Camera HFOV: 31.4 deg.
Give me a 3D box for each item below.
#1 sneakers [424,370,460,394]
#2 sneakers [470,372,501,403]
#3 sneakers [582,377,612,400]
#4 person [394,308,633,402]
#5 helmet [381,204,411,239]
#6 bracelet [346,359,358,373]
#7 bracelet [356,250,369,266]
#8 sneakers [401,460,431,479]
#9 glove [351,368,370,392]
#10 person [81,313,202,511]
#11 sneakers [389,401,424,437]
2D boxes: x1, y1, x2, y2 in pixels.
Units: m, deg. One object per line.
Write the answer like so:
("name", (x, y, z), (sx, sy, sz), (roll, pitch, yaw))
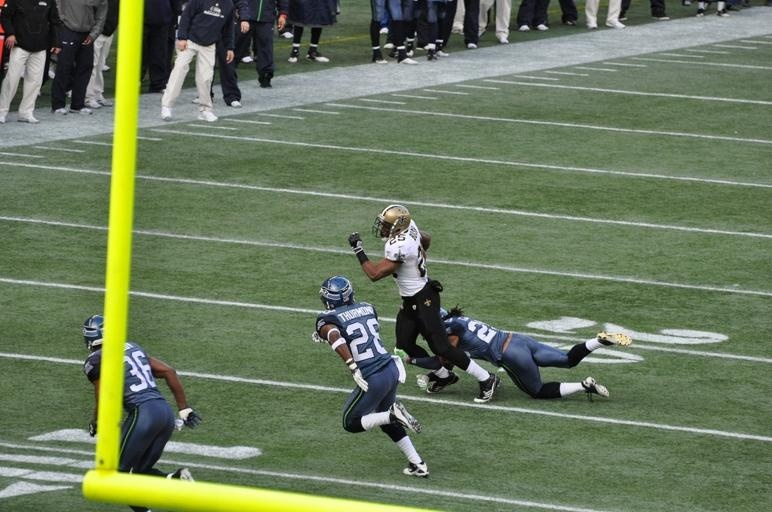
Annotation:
("sneakers", (0.516, 1.264, 13.568), (0.468, 0.118, 0.173), (-13, -40, 16))
("sneakers", (0.969, 1.294, 13.418), (0.250, 0.349, 0.141), (1, 43, -14))
("sneakers", (1.998, 1.295, 13.320), (0.343, 0.113, 0.191), (21, 8, -5))
("person", (1.248, 1.022, 13.593), (2.434, 0.646, 0.866), (7, -5, 17))
("helmet", (0.098, -0.341, 13.189), (0.416, 0.258, 0.272), (2, 17, 0))
("bracelet", (-0.355, 0.993, 12.263), (0.105, 0.126, 0.133), (-41, 3, -8))
("bracelet", (-0.258, 0.020, 13.330), (0.132, 0.067, 0.158), (-10, 33, -16))
("sneakers", (0.307, 1.932, 12.290), (0.356, 0.137, 0.094), (6, 21, 12))
("glove", (-0.244, 1.098, 12.301), (0.163, 0.258, 0.218), (3, 5, 0))
("person", (-2.091, 1.370, 11.677), (0.983, 1.614, 1.169), (2, 5, -11))
("sneakers", (0.151, 1.458, 12.244), (0.280, 0.255, 0.172), (2, 5, -2))
